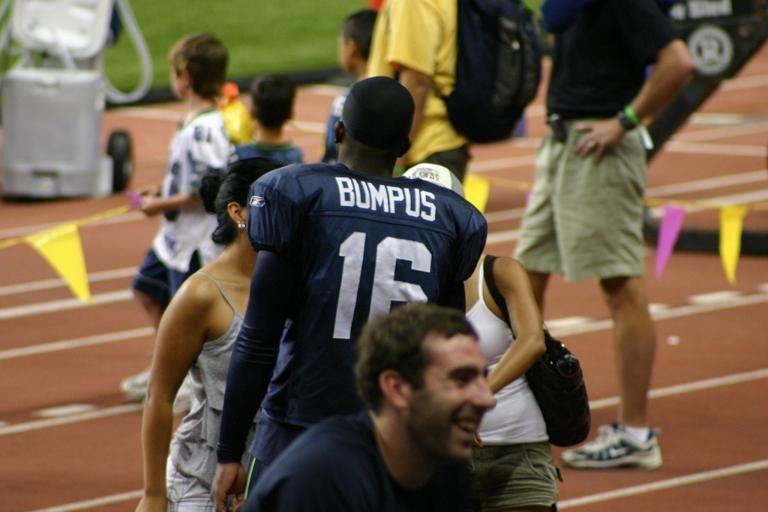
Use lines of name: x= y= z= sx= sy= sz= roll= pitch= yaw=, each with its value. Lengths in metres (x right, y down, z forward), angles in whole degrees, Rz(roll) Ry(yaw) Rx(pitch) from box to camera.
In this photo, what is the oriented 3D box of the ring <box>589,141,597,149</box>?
ring: x=1.511 y=-0.786 z=9.595 sx=0.043 sy=0.045 sz=0.024 roll=2 pitch=18 yaw=3
